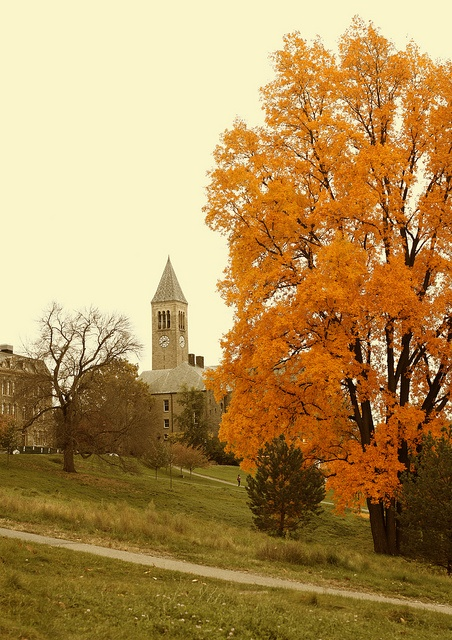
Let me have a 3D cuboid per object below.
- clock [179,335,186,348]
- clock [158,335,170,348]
[{"bbox_3d":[-5.987,2.858,128.284,0.097,1.361,1.388,-2,-26,20],"label":"clock"},{"bbox_3d":[-8.245,2.833,126.553,1.640,1.656,0.518,1,-8,44],"label":"clock"}]
